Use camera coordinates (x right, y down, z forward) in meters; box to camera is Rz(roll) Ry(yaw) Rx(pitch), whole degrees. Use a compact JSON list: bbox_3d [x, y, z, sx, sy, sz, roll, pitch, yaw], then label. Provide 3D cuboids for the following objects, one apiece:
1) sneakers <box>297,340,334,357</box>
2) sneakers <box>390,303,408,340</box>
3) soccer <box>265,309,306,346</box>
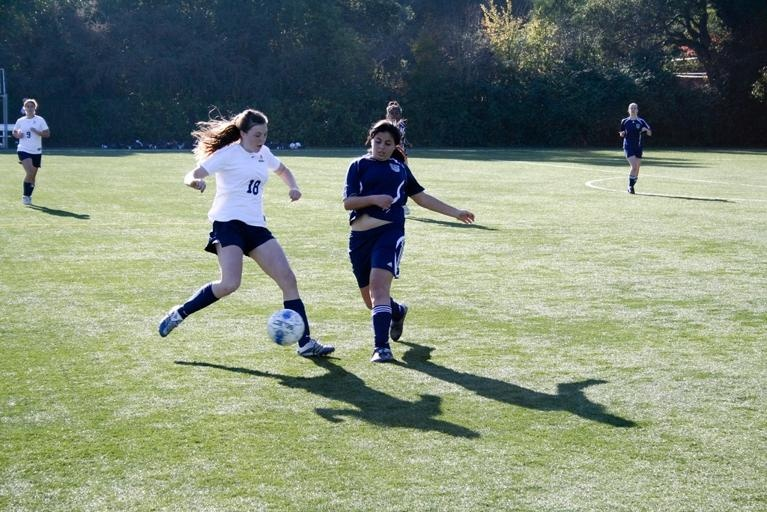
[{"bbox_3d":[-1.035,1.442,17.735,0.604,0.288,0.231,-3,5,-5],"label":"sneakers"},{"bbox_3d":[0.277,1.028,18.090,0.230,0.599,0.271,10,9,28],"label":"sneakers"},{"bbox_3d":[-1.506,1.090,17.650,0.657,0.530,0.542,1,40,-10],"label":"soccer"}]
